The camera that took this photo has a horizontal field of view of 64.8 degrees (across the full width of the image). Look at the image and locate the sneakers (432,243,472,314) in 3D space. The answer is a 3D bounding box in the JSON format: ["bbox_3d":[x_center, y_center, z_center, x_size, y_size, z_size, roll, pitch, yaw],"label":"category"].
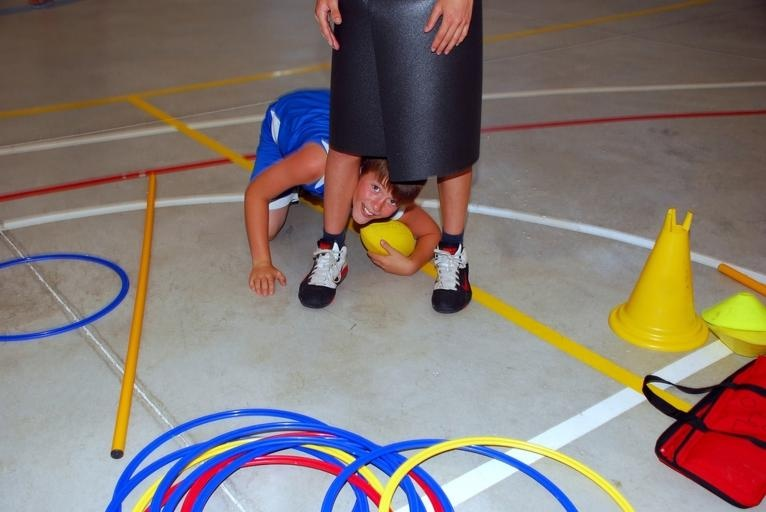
[{"bbox_3d":[0.330,0.102,2.869,0.136,0.162,0.369,-1,37,7],"label":"sneakers"}]
